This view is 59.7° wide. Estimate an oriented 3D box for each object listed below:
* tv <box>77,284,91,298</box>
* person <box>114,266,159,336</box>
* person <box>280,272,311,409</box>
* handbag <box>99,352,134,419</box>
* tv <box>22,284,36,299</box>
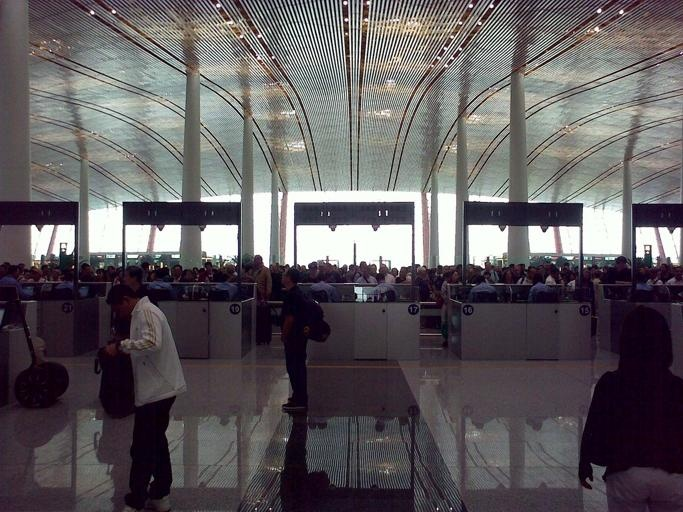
[{"bbox_3d":[-5.858,0.838,13.564,0.274,0.226,0.393,-23,-9,1],"label":"tv"},{"bbox_3d":[-2.833,0.656,8.182,0.548,1.222,0.676,2,4,0],"label":"person"},{"bbox_3d":[-0.792,1.354,9.869,0.434,2.288,0.734,-3,-5,11],"label":"person"},{"bbox_3d":[-3.507,2.056,9.436,0.591,1.261,0.778,2,4,-9],"label":"handbag"},{"bbox_3d":[-6.837,0.815,13.008,0.256,0.275,0.142,-1,-8,2],"label":"tv"}]
